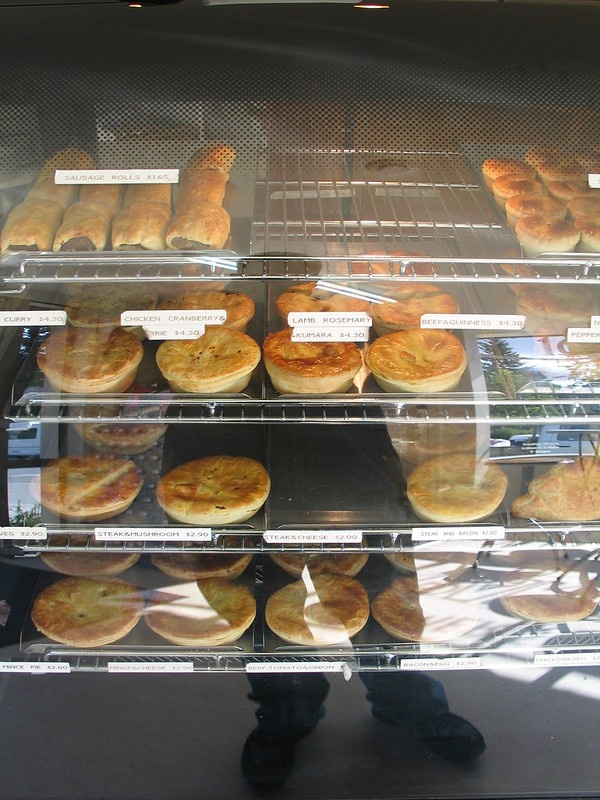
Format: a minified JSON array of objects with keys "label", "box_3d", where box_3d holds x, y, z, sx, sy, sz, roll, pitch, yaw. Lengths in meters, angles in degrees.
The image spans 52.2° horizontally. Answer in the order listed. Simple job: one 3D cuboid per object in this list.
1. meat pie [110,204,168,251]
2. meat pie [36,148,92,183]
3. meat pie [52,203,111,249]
[{"label":"meat pie","box_3d":[-0.289,-0.313,1.117,0.110,0.077,0.035,-6,30,-10]},{"label":"meat pie","box_3d":[-0.421,-0.429,1.105,0.083,0.053,0.019,-13,4,-3]},{"label":"meat pie","box_3d":[-0.397,-0.292,1.103,0.079,0.097,0.037,9,-4,4]}]
